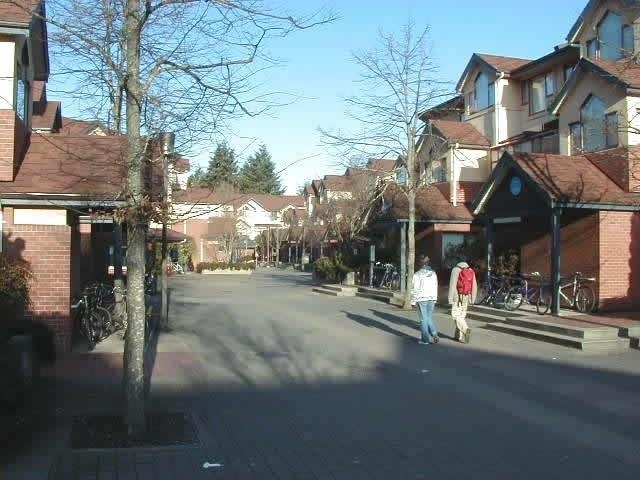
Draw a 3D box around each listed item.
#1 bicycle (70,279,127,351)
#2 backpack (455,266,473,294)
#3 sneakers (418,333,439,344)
[{"bbox_3d":[-5.634,1.805,17.584,0.872,1.197,1.930,-5,5,9],"label":"bicycle"},{"bbox_3d":[3.535,0.967,17.228,0.386,0.825,0.539,2,-4,43],"label":"backpack"},{"bbox_3d":[2.680,2.451,17.467,0.216,0.304,0.652,4,-13,-36],"label":"sneakers"}]
